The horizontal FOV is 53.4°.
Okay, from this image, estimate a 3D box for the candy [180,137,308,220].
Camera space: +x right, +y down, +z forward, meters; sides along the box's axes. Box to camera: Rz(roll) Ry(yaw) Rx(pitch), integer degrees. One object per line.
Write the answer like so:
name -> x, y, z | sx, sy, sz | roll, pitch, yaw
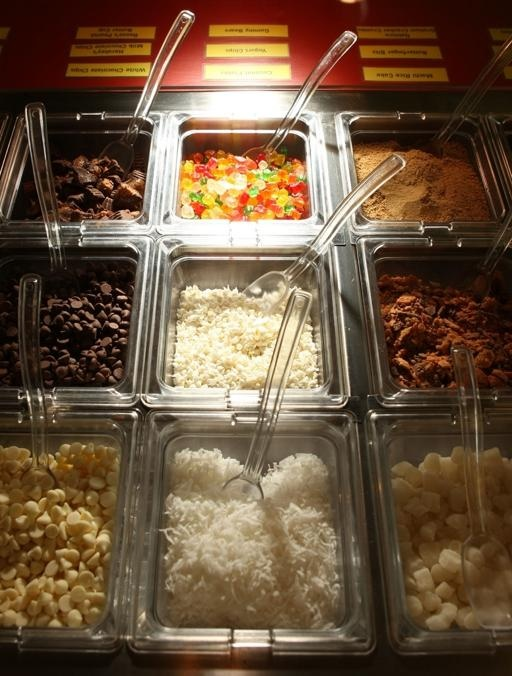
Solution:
candy -> -0.057, -0.498, 1.663 | 0.442, 0.132, 0.276 | -1, 61, -2
